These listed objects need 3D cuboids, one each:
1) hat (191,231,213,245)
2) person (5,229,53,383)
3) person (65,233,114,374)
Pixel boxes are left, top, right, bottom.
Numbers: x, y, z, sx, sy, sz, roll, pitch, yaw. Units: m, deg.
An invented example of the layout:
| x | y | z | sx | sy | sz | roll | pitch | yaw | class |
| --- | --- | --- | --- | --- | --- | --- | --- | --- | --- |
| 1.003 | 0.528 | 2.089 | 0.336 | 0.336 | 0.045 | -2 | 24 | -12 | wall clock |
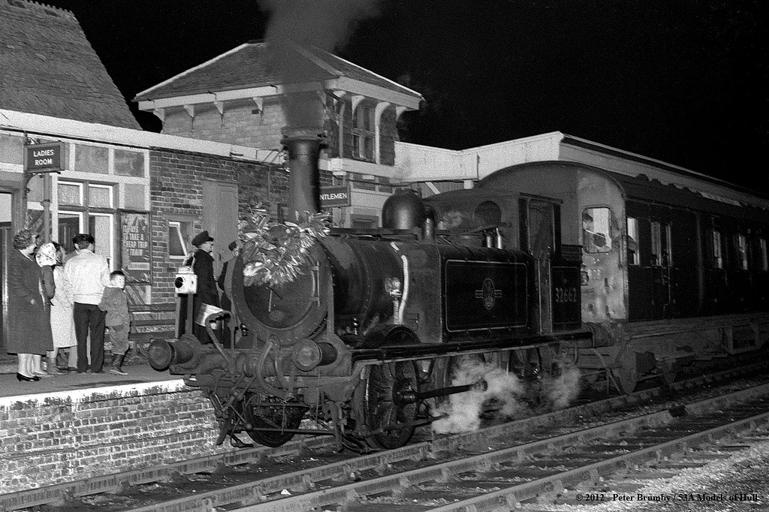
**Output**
| x | y | z | sx | sy | sz | roll | pitch | yaw | class |
| --- | --- | --- | --- | --- | --- | --- | --- | --- | --- |
| -2.789 | -0.265 | 12.579 | 0.275 | 0.105 | 0.191 | -24 | 26 | -9 | hat |
| -5.355 | 0.732 | 12.459 | 0.637 | 2.257 | 0.215 | 2 | -7 | -22 | person |
| -4.679 | 0.751 | 13.122 | 0.648 | 2.190 | 0.654 | -1 | -6 | 1 | person |
